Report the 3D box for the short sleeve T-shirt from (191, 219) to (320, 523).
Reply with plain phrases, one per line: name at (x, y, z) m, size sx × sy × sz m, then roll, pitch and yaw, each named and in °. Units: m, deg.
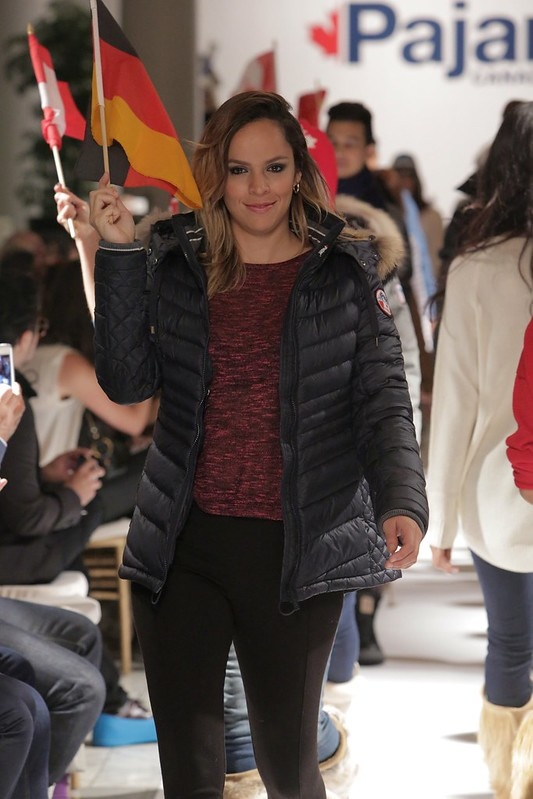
short sleeve T-shirt at (-0.017, -0.036, 1.507) m, size 0.194 × 0.485 × 0.142 m, roll 5°, pitch 10°, yaw -5°
